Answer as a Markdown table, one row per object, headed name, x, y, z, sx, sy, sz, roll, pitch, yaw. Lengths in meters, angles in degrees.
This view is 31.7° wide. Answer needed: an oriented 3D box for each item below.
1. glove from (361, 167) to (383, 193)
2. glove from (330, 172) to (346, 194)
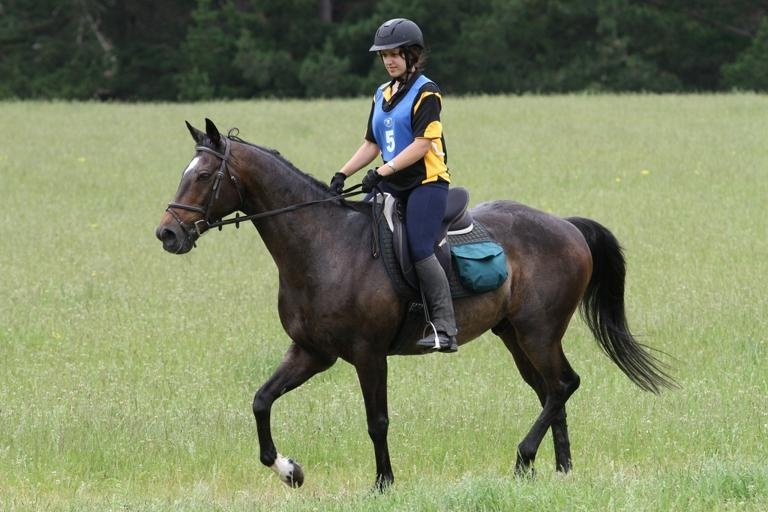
| name | x | y | z | sx | sy | sz | roll | pitch | yaw |
| --- | --- | --- | --- | --- | --- | --- | --- | --- | --- |
| glove | -0.248 | -1.520 | 27.145 | 0.346 | 0.493 | 0.221 | 34 | 17 | 20 |
| glove | -0.926 | -1.507 | 27.472 | 0.287 | 0.439 | 0.190 | 1 | -15 | 40 |
